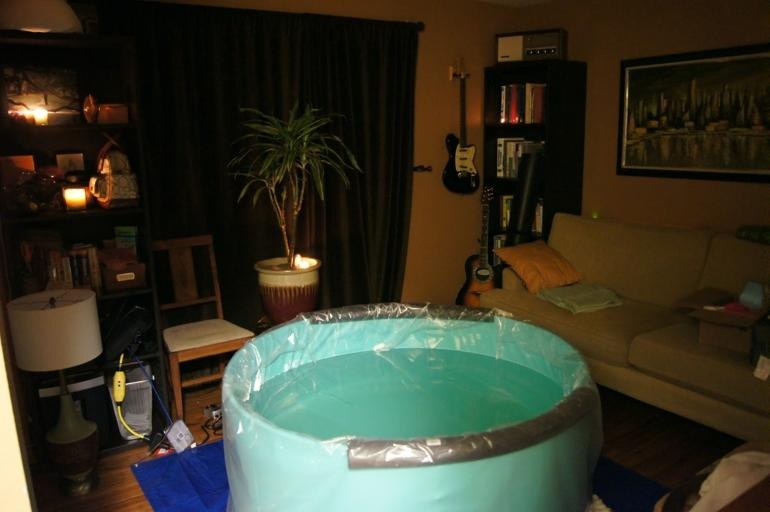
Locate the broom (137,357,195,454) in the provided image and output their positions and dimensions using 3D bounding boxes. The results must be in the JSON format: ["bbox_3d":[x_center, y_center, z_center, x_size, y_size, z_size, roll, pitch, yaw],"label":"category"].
[{"bbox_3d":[-1.404,1.092,3.750,0.224,0.908,0.098,-26,-14,15],"label":"broom"}]

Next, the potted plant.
[{"bbox_3d":[-0.648,-0.352,4.477,0.982,1.659,0.608,-11,16,-32],"label":"potted plant"}]

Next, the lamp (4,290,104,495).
[{"bbox_3d":[-1.930,0.797,3.442,0.402,1.174,0.409,4,15,24],"label":"lamp"}]

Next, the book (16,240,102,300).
[{"bbox_3d":[-2.121,0.100,3.707,0.352,0.369,0.353,2,-5,-4],"label":"book"}]

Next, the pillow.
[{"bbox_3d":[1.224,0.052,4.636,0.419,0.144,0.449,-10,37,-23],"label":"pillow"}]

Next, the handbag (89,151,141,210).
[{"bbox_3d":[-1.770,-0.457,3.770,0.312,0.441,0.402,-1,8,-36],"label":"handbag"}]

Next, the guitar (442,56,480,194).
[{"bbox_3d":[0.722,-1.193,5.392,0.390,1.229,0.213,-13,17,-36],"label":"guitar"}]
